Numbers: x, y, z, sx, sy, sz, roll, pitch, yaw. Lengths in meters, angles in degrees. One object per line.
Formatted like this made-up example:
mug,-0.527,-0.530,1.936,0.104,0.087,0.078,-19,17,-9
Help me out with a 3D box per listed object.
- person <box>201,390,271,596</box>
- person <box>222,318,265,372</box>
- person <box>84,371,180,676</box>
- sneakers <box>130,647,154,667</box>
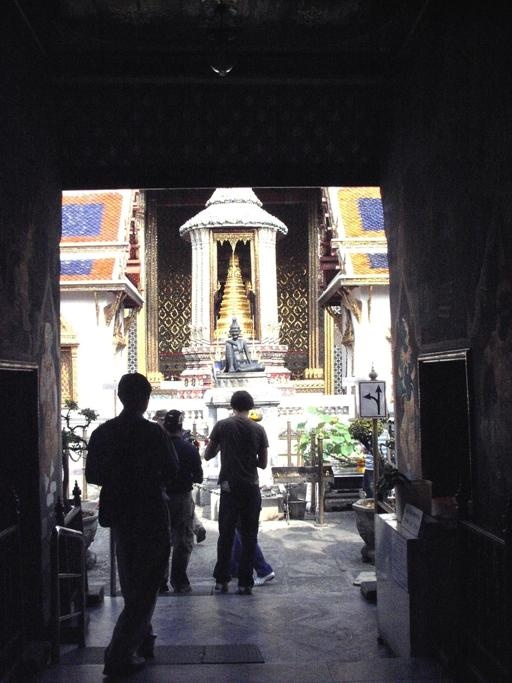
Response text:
person,-0.164,1.209,6.759,0.500,1.619,0.281,0,-4,0
person,-0.323,0.126,15.084,0.765,1.240,0.794,1,-9,-22
person,-0.683,0.958,4.602,0.477,1.580,0.407,4,-5,-39
sneakers,-0.616,1.725,4.565,0.053,0.072,0.170,-1,-10,5
